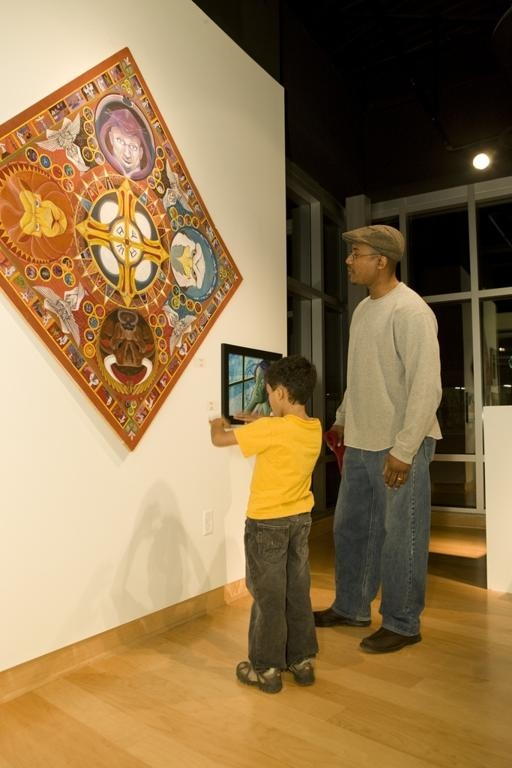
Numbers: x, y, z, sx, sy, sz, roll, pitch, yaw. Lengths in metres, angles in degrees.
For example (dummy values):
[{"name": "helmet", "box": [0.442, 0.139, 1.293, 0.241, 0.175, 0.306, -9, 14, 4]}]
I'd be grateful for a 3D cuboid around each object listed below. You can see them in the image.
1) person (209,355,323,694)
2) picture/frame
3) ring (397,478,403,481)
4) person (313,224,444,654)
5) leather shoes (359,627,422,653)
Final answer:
[{"name": "person", "box": [0.037, 0.440, 1.875, 0.348, 1.062, 0.321, 0, -5, 5]}, {"name": "picture/frame", "box": [-0.040, -0.011, 2.914, 0.015, 0.379, 0.503, 6, -7, -26]}, {"name": "ring", "box": [0.517, 0.349, 2.049, 0.013, 0.011, 0.014, 4, 13, -6]}, {"name": "person", "box": [0.494, 0.184, 2.305, 0.317, 1.654, 0.588, 3, -6, -32]}, {"name": "leather shoes", "box": [0.506, 0.969, 2.167, 0.226, 0.116, 0.082, 8, -11, -17]}]
